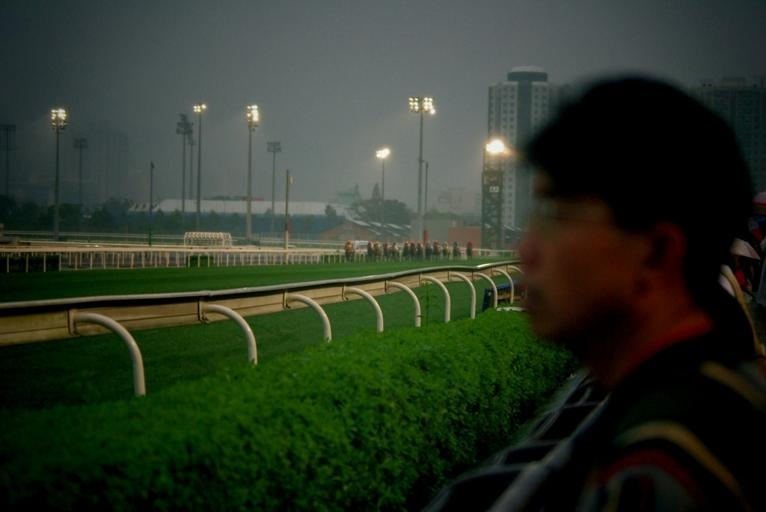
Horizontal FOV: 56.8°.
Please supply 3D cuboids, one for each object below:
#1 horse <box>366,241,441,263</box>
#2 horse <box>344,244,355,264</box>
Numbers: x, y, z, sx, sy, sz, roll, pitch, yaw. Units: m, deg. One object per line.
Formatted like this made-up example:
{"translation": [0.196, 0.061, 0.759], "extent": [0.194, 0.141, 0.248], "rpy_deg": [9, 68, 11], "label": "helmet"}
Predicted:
{"translation": [1.139, -0.317, 36.771], "extent": [2.368, 0.938, 7.683], "rpy_deg": [2, 2, 15], "label": "horse"}
{"translation": [-1.369, -0.191, 29.539], "extent": [0.334, 0.802, 1.081], "rpy_deg": [2, 1, -5], "label": "horse"}
